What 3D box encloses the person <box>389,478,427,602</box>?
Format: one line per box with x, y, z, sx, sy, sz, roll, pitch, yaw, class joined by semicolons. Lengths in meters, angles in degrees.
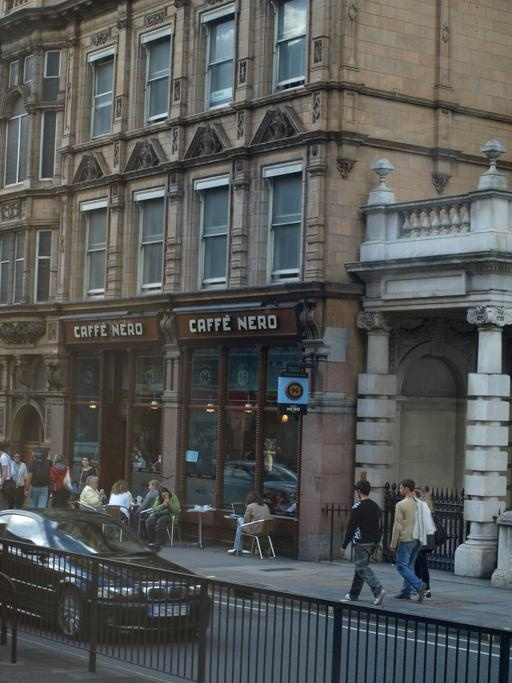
2.082;2.695;20.807;0.531;1.340;0.669;8;-3;7;person

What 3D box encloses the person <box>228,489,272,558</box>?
-0.075;3.138;26.298;0.466;0.953;0.938;9;-3;-10;person

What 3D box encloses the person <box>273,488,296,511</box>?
0.473;2.830;27.165;0.120;0.354;0.729;9;-3;-24;person

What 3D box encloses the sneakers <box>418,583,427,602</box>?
2.218;3.357;20.635;0.093;0.296;0.193;4;-5;-21;sneakers

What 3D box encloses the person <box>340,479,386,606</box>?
1.455;2.658;20.384;0.623;1.345;1.330;8;-3;5;person
